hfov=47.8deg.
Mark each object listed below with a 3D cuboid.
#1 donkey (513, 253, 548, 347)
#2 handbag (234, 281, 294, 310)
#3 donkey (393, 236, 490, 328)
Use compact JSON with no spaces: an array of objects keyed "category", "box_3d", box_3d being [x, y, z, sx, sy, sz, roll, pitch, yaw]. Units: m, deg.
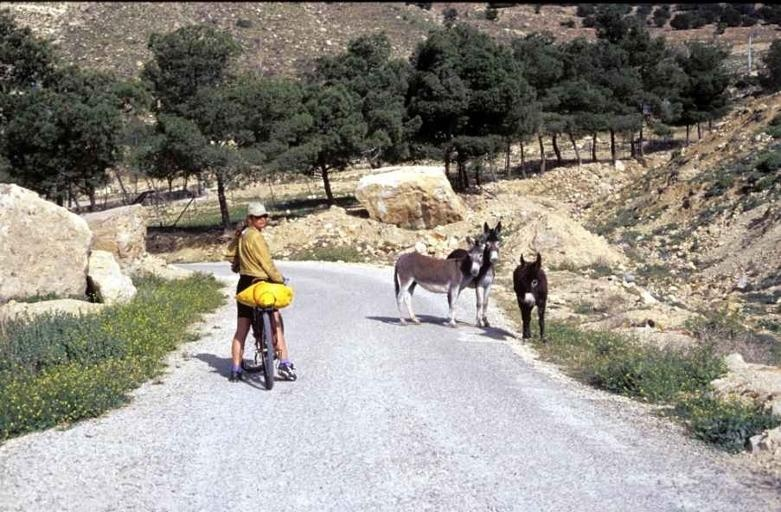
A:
[{"category":"donkey","box_3d":[6.163,1.698,38.275,1.412,3.451,5.198,-1,1,11]},{"category":"handbag","box_3d":[-4.656,1.443,32.658,1.436,0.543,1.231,6,11,30]},{"category":"donkey","box_3d":[2.044,1.032,37.760,3.659,3.927,1.488,5,15,9]}]
